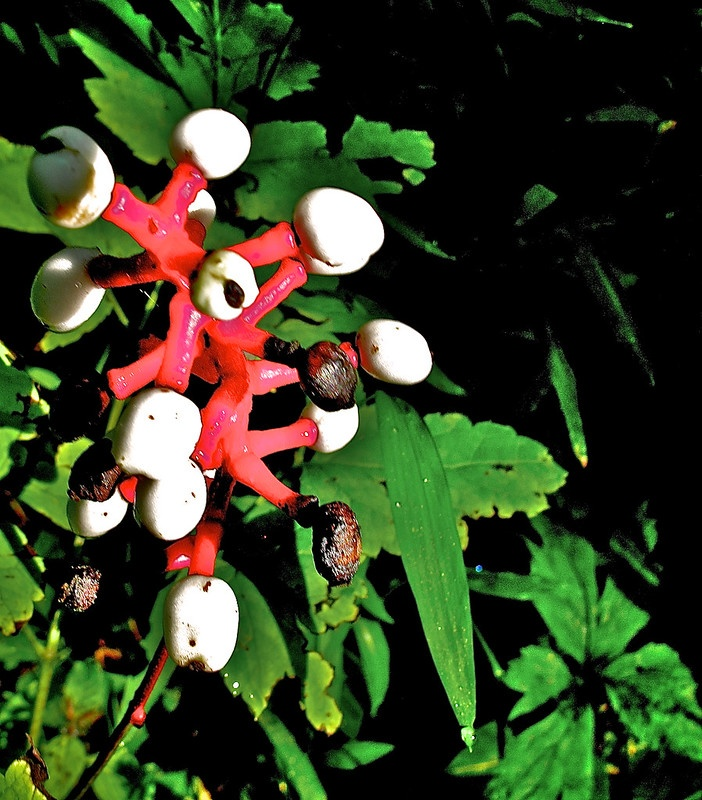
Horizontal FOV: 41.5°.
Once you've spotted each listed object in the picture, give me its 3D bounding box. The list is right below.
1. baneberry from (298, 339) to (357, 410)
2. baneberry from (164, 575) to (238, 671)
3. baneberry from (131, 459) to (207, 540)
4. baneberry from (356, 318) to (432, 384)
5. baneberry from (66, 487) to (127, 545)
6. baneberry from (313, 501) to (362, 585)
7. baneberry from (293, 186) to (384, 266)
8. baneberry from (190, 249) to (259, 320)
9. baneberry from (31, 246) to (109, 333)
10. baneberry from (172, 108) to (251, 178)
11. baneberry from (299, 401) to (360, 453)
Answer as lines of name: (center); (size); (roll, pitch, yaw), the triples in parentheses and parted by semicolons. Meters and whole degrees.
baneberry: (-0.018, -0.015, 0.649); (0.034, 0.051, 0.024); (-12, 2, -29)
baneberry: (-0.108, 0.159, 0.668); (0.055, 0.087, 0.061); (2, -4, -8)
baneberry: (-0.130, 0.074, 0.671); (0.047, 0.030, 0.060); (-38, -51, -33)
baneberry: (0.031, -0.038, 0.744); (0.054, 0.047, 0.035); (19, -17, 1)
baneberry: (-0.216, 0.094, 0.750); (0.044, 0.053, 0.041); (-1, -5, 30)
baneberry: (-0.010, 0.101, 0.663); (0.037, 0.058, 0.012); (-2, 0, -44)
baneberry: (-0.014, -0.119, 0.713); (0.072, 0.068, 0.031); (5, -48, -24)
baneberry: (-0.085, -0.078, 0.630); (0.044, 0.037, 0.041); (19, -50, -24)
baneberry: (-0.216, -0.084, 0.703); (0.061, 0.050, 0.047); (-32, -5, 8)
baneberry: (-0.106, -0.196, 0.703); (0.054, 0.052, 0.029); (-53, 7, -7)
baneberry: (-0.021, 0.022, 0.845); (0.045, 0.037, 0.039); (17, -54, -35)
